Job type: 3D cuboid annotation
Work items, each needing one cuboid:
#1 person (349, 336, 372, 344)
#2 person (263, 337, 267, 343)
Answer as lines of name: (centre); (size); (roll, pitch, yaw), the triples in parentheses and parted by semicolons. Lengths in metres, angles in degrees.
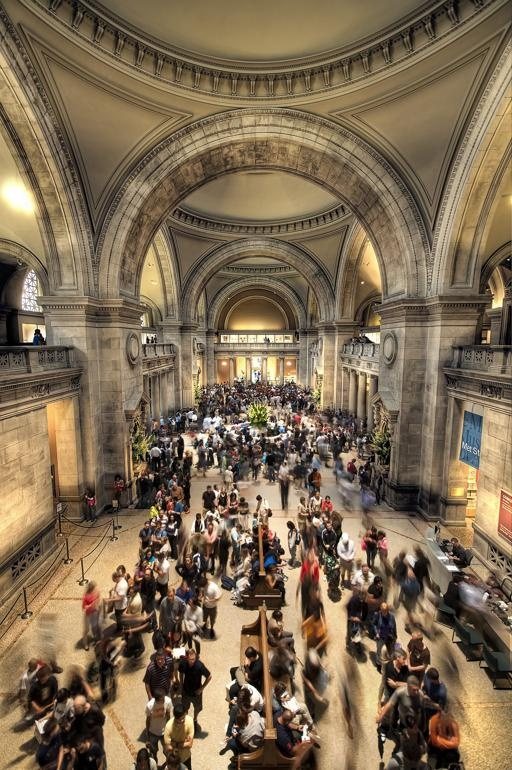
person: (4.946, -2.101, 19.378); (0.856, 0.257, 0.850); (-1, -3, 41)
person: (0.895, -3.941, 37.606); (0.454, 0.636, 1.174); (1, 4, -2)
